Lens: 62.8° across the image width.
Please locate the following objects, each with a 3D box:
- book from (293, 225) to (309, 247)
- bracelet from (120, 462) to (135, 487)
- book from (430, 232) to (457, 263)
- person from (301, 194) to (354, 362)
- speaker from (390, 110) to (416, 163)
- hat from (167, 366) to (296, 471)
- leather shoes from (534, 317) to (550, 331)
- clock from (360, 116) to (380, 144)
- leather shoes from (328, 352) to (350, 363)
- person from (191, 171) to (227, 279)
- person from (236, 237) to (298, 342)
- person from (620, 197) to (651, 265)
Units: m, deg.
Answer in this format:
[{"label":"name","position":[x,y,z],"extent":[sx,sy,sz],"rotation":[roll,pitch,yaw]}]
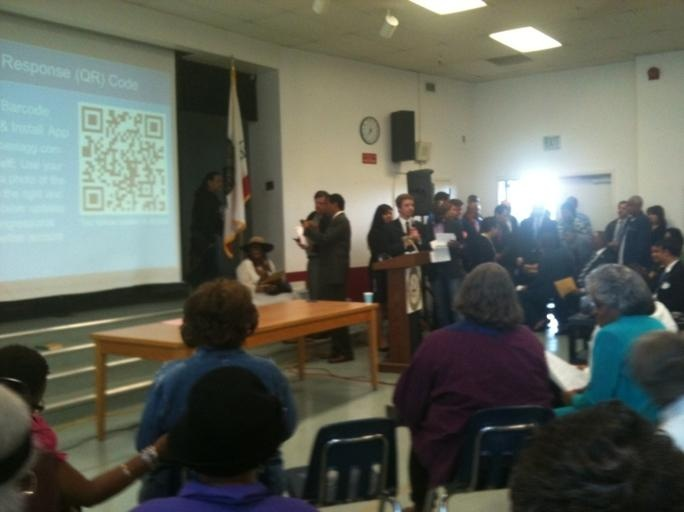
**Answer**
[{"label":"book","position":[-0.408,-0.189,5.680],"extent":[0.079,0.248,0.197],"rotation":[-9,40,1]},{"label":"bracelet","position":[-0.705,0.726,1.884],"extent":[0.051,0.067,0.024],"rotation":[-1,17,31]},{"label":"book","position":[0.892,-0.086,5.221],"extent":[0.260,0.255,0.385],"rotation":[4,7,39]},{"label":"person","position":[-0.194,0.214,6.121],"extent":[0.607,1.811,0.660],"rotation":[-3,-2,29]},{"label":"speaker","position":[0.923,-1.835,8.620],"extent":[0.371,0.764,0.240],"rotation":[-1,9,13]},{"label":"hat","position":[-0.217,0.389,1.359],"extent":[0.180,0.255,0.250],"rotation":[5,-29,35]},{"label":"leather shoes","position":[2.531,0.870,7.132],"extent":[0.184,0.084,0.186],"rotation":[-29,16,27]},{"label":"clock","position":[0.401,-1.879,8.323],"extent":[0.063,0.461,0.470],"rotation":[-6,-2,39]},{"label":"leather shoes","position":[-0.014,1.045,5.747],"extent":[0.243,0.093,0.083],"rotation":[5,1,-27]},{"label":"person","position":[-1.592,-0.321,6.639],"extent":[0.431,1.310,0.478],"rotation":[-4,9,-11]},{"label":"person","position":[-0.794,0.160,5.956],"extent":[0.631,0.754,0.595],"rotation":[-9,7,-11]},{"label":"person","position":[3.852,-0.323,7.353],"extent":[0.335,0.890,0.630],"rotation":[2,10,28]}]
